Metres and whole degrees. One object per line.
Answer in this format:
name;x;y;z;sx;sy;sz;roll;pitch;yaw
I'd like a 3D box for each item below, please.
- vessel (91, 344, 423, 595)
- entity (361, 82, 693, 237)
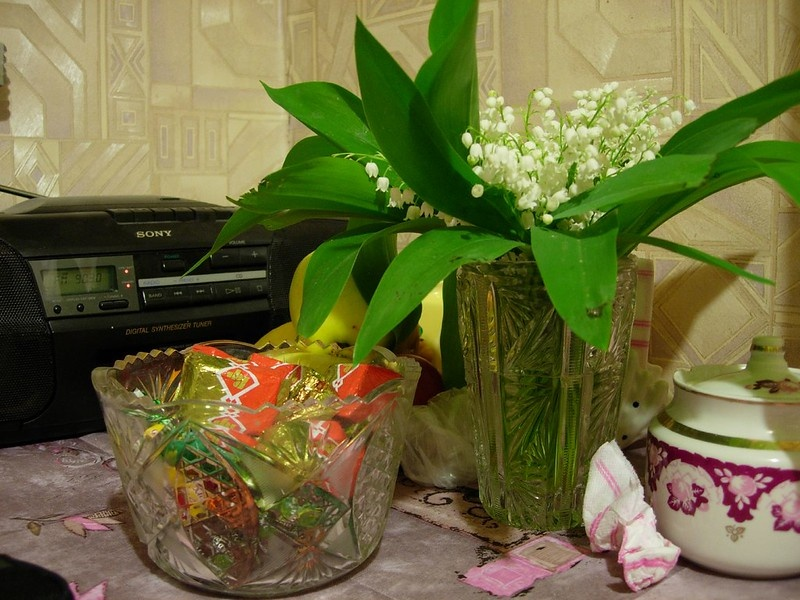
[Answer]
vessel;-0.115;0.104;0.425;0.199;0.140;0.188;0;5;-5
entity;0.159;-0.132;0.537;0.164;0.149;0.263;0;2;45
